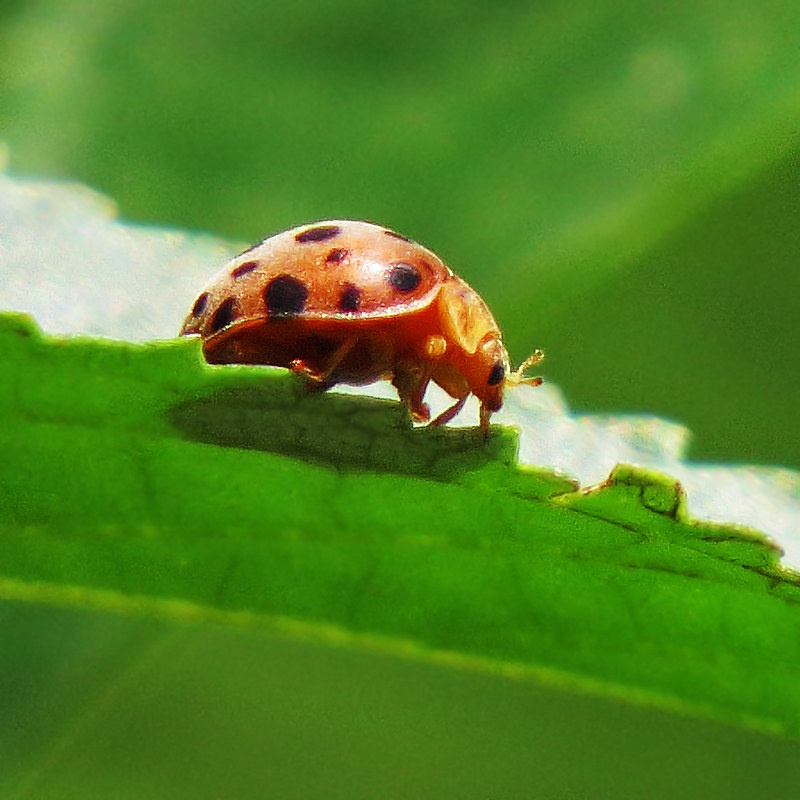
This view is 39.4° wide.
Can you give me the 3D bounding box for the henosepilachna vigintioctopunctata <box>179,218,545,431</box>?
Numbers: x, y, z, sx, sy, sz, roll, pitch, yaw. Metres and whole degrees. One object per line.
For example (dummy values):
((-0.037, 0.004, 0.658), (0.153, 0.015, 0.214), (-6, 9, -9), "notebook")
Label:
((-0.050, -0.064, 1.247), (0.335, 0.149, 0.230), (8, -9, -7), "henosepilachna vigintioctopunctata")
